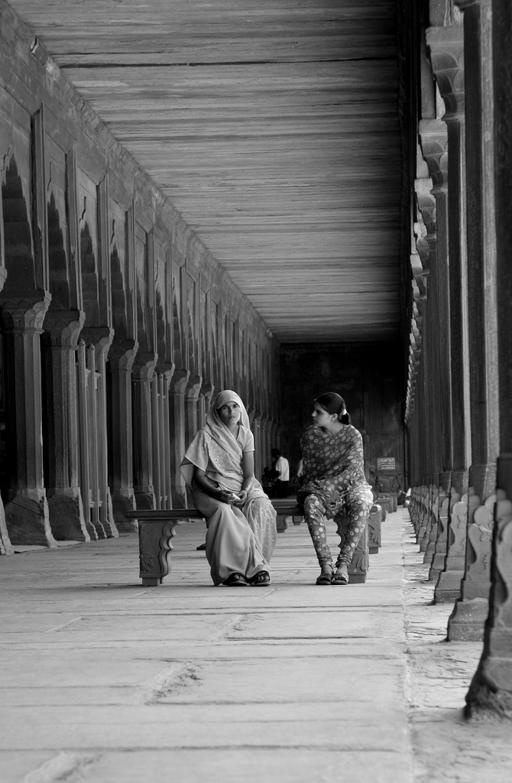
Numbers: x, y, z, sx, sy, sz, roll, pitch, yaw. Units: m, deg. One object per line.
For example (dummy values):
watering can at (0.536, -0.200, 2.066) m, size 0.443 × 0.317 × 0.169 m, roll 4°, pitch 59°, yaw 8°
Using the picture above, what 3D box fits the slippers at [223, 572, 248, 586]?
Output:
slippers at (-0.099, 0.950, 7.754) m, size 0.052 × 0.076 × 0.142 m, roll 3°, pitch 5°, yaw 45°

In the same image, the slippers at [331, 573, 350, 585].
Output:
slippers at (0.421, 0.936, 7.754) m, size 0.085 × 0.065 × 0.198 m, roll -4°, pitch -2°, yaw 4°
